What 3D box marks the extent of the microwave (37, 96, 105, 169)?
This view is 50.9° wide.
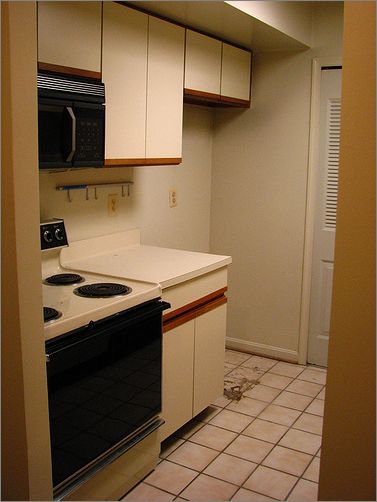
[{"bbox_3d":[-0.565,-0.520,1.723,0.214,0.282,0.388,23,25,38],"label":"microwave"}]

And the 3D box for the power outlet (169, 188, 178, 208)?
[{"bbox_3d":[-0.113,-0.397,2.938,0.013,0.144,0.123,3,10,24],"label":"power outlet"}]

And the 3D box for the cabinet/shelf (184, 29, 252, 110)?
[{"bbox_3d":[0.168,-1.197,2.739,0.626,0.338,0.191,-7,13,-40],"label":"cabinet/shelf"}]

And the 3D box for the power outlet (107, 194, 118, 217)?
[{"bbox_3d":[-0.468,-0.286,2.434,0.012,0.132,0.110,6,13,23],"label":"power outlet"}]
